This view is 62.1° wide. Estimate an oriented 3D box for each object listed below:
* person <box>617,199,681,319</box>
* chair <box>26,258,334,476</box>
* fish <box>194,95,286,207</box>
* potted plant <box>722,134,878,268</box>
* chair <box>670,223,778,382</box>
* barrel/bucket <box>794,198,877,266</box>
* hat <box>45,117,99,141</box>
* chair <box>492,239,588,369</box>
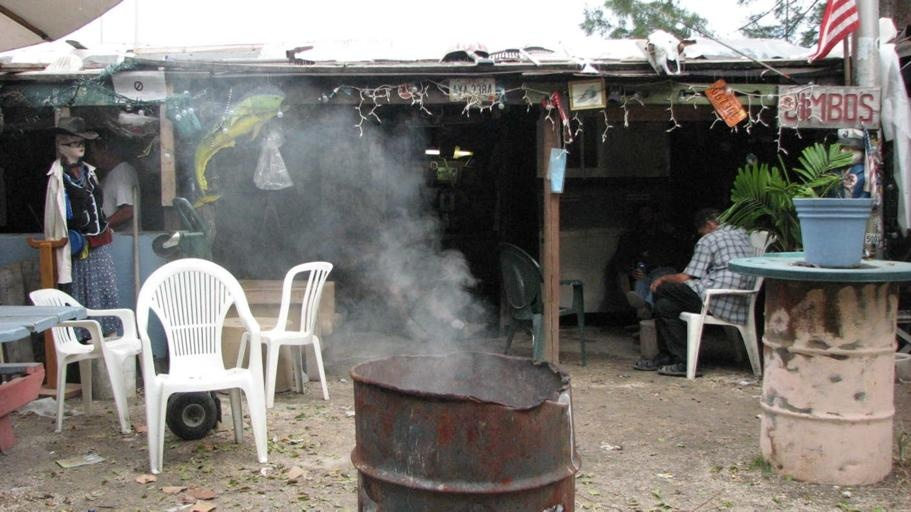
[{"bbox_3d":[2.663,0.125,10.342,0.868,1.346,0.797,-8,10,-24],"label":"person"},{"bbox_3d":[-2.184,0.921,7.312,1.784,1.826,1.579,-7,8,-41],"label":"chair"},{"bbox_3d":[-2.338,-1.445,8.707,0.753,0.502,1.227,5,-25,-24],"label":"fish"},{"bbox_3d":[3.037,-0.372,6.513,1.177,0.794,1.255,-5,-13,4],"label":"potted plant"},{"bbox_3d":[2.945,0.622,8.975,1.250,1.536,1.235,1,-4,-31],"label":"chair"},{"bbox_3d":[3.228,-0.187,6.571,0.720,0.541,0.706,-1,-4,0],"label":"barrel/bucket"},{"bbox_3d":[-4.083,-1.364,8.103,0.457,0.163,0.384,4,7,4],"label":"hat"},{"bbox_3d":[1.060,0.594,9.059,1.045,1.225,1.024,0,-9,1],"label":"chair"}]
